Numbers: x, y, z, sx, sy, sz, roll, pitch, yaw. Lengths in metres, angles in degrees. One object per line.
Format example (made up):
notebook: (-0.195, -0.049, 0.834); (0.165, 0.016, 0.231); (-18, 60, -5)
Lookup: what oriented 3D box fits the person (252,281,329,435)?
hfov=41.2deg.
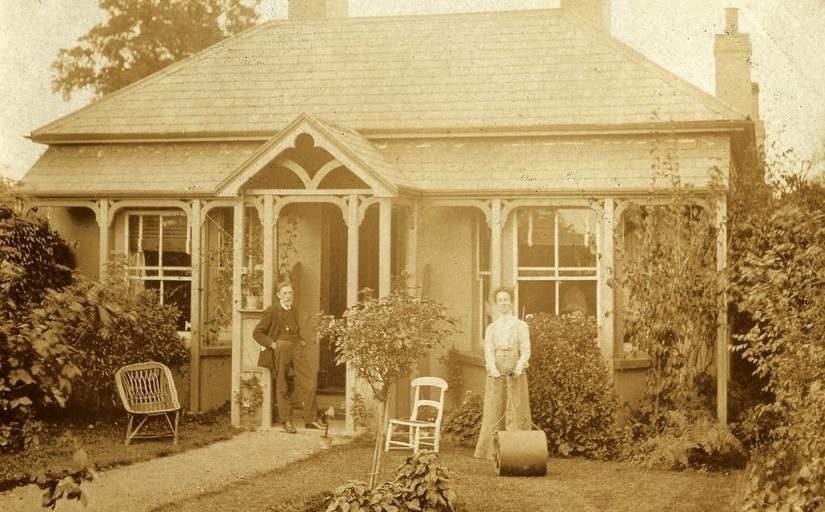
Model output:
person: (-2.722, 2.202, 23.693); (1.344, 3.174, 0.475); (0, -5, -9)

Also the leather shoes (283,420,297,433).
leather shoes: (-2.666, 3.659, 23.603); (0.343, 0.287, 0.220); (-2, -5, 10)

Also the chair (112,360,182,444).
chair: (-5.441, 3.125, 23.735); (1.531, 2.116, 1.580); (-1, -7, -28)

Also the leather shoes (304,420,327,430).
leather shoes: (-2.088, 3.674, 23.820); (0.547, 0.245, 0.188); (-2, 0, 10)

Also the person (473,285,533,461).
person: (1.847, 2.423, 22.135); (1.067, 3.336, 0.514); (-1, -5, 3)
